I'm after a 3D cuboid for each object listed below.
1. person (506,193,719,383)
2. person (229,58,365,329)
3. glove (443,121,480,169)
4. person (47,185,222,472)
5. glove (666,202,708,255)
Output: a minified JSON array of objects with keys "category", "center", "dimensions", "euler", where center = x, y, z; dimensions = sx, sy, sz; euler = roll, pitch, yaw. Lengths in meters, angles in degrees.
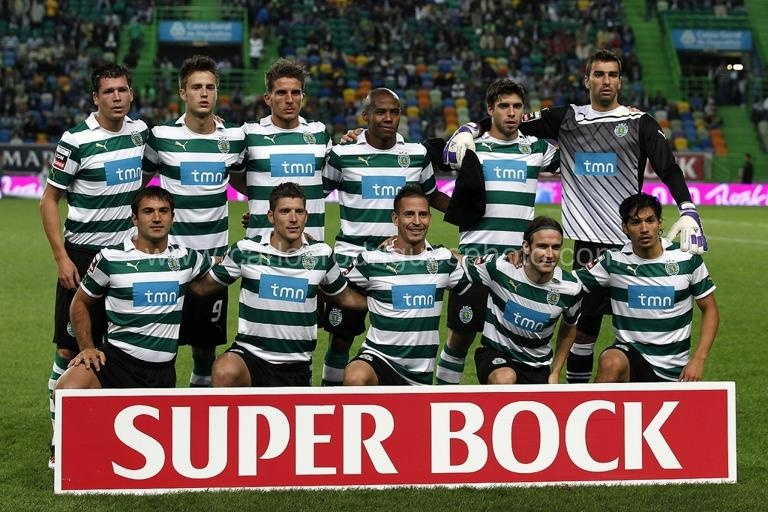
[{"category":"person","center":[2.065,0.546,8.047],"dimensions":[1.540,2.062,0.943],"euler":[-5,16,-4]},{"category":"person","center":[-0.816,-0.360,8.374],"dimensions":[0.987,2.602,0.704],"euler":[0,2,0]},{"category":"glove","center":[0.665,-0.990,8.357],"dimensions":[0.245,0.437,0.169],"euler":[35,-34,-24]},{"category":"person","center":[-2.019,0.286,7.636],"dimensions":[1.167,1.611,0.464],"euler":[-5,14,-14]},{"category":"glove","center":[2.492,-0.202,7.851],"dimensions":[0.292,0.462,0.152],"euler":[-4,-27,3]}]
